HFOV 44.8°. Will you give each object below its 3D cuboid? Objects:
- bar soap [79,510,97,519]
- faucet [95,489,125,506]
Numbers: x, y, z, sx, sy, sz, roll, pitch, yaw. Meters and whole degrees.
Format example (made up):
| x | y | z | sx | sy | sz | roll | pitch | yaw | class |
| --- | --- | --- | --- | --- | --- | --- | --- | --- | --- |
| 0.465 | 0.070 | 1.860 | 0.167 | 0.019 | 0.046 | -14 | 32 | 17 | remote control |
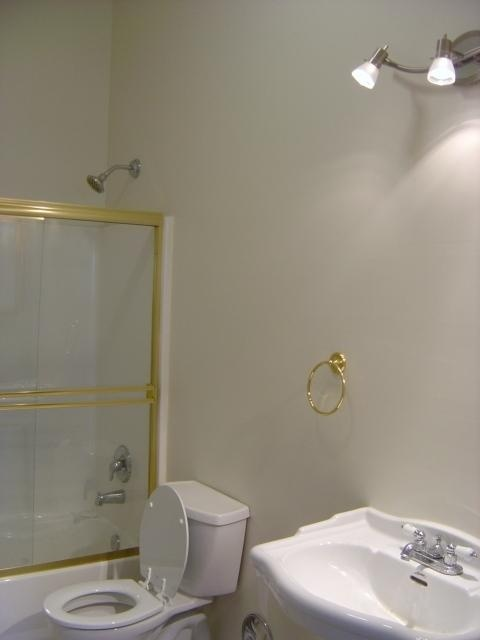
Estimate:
| x | y | z | sx | sy | sz | roll | pitch | yaw | class |
| --- | --- | --- | --- | --- | --- | --- | --- | --- | --- |
| -0.624 | 0.799 | 2.385 | 0.063 | 0.043 | 0.037 | 0 | 23 | -15 | bar soap |
| -0.537 | 0.739 | 2.421 | 0.151 | 0.077 | 0.069 | 3 | 1 | -25 | faucet |
